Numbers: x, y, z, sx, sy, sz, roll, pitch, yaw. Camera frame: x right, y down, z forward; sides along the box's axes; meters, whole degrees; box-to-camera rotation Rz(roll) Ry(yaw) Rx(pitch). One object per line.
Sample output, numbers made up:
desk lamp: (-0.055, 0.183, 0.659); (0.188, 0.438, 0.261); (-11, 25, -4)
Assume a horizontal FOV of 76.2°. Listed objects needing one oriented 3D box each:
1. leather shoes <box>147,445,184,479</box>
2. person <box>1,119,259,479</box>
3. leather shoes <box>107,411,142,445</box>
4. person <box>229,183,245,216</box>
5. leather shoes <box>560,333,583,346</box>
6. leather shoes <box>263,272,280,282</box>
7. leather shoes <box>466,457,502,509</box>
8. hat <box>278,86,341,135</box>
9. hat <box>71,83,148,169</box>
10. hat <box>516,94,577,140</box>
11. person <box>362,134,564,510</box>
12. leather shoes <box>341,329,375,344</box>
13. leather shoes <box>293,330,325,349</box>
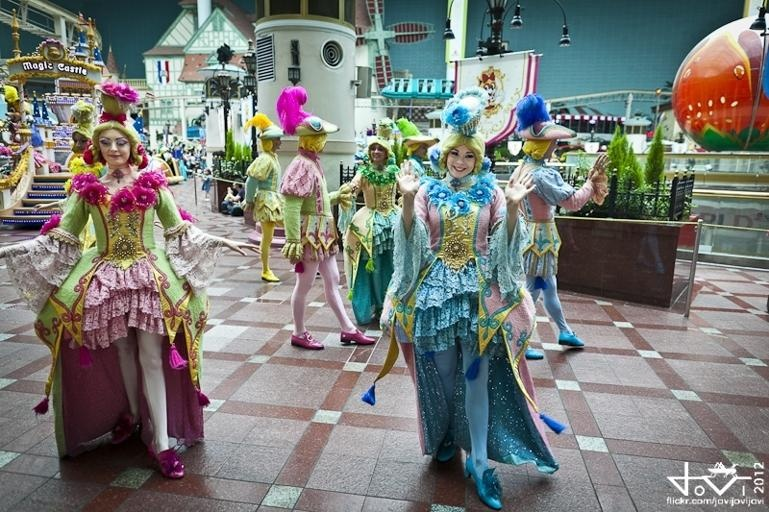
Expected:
leather shoes: (-1.555, 1.523, 3.604); (0.309, 0.137, 0.154); (22, 2, 31)
person: (-1.920, 0.294, 3.629); (1.285, 2.510, 0.638); (1, 13, 4)
leather shoes: (-2.038, 1.346, 3.908); (0.138, 0.122, 0.274); (13, 31, 15)
person: (-4.039, -1.573, 13.534); (0.537, 0.919, 0.724); (-2, 9, -31)
leather shoes: (2.014, 0.911, 5.386); (0.266, 0.136, 0.120); (5, 16, 2)
leather shoes: (-1.697, 0.312, 7.430); (0.116, 0.138, 0.350); (-23, 14, -35)
leather shoes: (0.678, 1.572, 3.449); (0.134, 0.168, 0.383); (-3, 28, -35)
hat: (-0.726, -1.567, 5.219); (0.835, 0.594, 0.346); (2, 29, -3)
hat: (-1.998, -0.970, 3.617); (0.419, 0.631, 0.301); (-6, 14, -24)
hat: (1.643, -1.461, 5.059); (0.598, 0.402, 0.427); (13, 34, 34)
person: (0.586, 0.415, 3.466); (1.202, 2.517, 0.671); (5, 14, 18)
leather shoes: (-0.303, 0.900, 5.435); (0.411, 0.161, 0.146); (-1, 5, -5)
leather shoes: (-0.820, 0.906, 5.316); (0.330, 0.134, 0.160); (4, 6, 13)
